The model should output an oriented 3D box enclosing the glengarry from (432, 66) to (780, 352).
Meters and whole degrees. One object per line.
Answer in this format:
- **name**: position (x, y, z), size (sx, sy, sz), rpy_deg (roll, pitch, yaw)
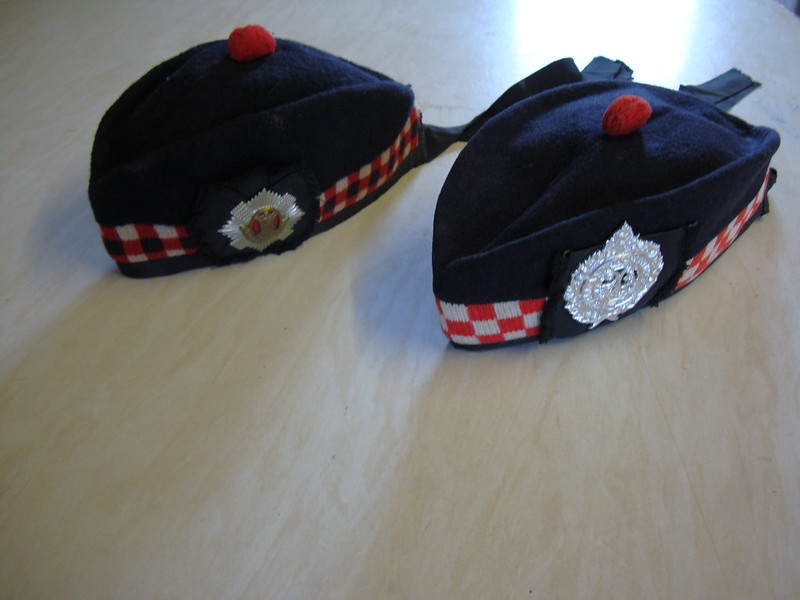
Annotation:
- **glengarry**: position (0.612, -0.323, 2.620), size (1.079, 0.458, 0.744), rpy_deg (-33, 50, -8)
